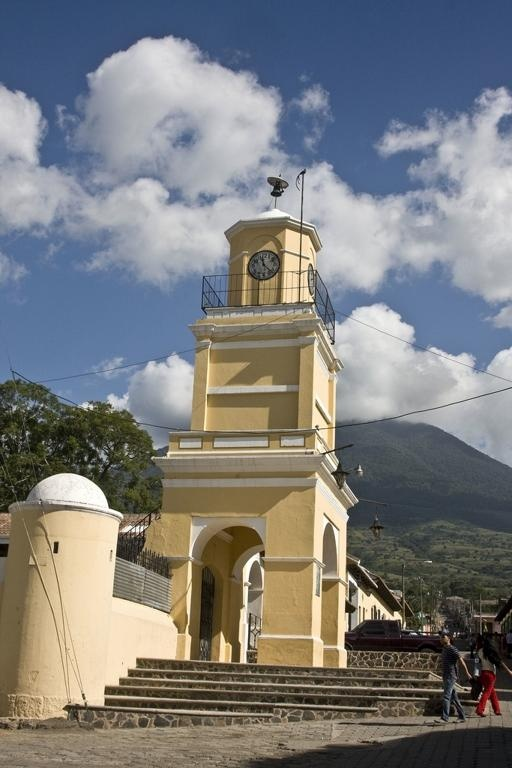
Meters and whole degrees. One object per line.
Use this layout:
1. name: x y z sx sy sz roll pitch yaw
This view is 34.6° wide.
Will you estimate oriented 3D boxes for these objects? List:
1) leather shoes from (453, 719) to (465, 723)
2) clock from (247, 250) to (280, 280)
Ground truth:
1. leather shoes: 3.114 5.146 12.529 0.167 0.072 0.061 2 -19 13
2. clock: 0.243 -3.289 23.119 0.766 0.781 0.104 12 -18 29
